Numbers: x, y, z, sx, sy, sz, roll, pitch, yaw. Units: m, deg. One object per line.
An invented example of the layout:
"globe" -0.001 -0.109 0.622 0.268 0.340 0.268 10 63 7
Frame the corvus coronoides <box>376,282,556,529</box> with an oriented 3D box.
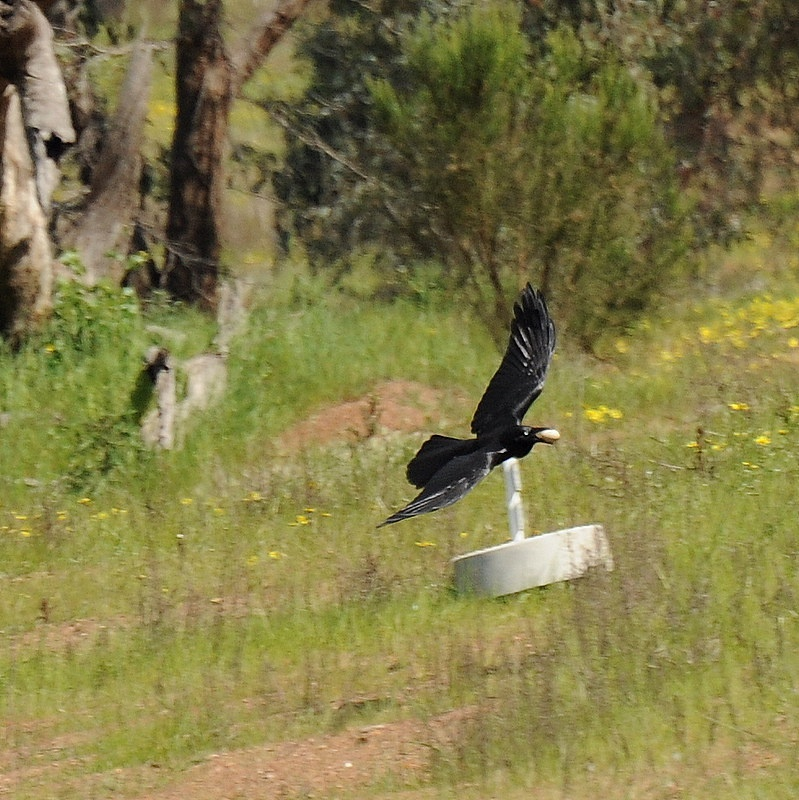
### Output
"corvus coronoides" 0.847 0.128 18.695 1.070 1.940 2.692 21 31 15
